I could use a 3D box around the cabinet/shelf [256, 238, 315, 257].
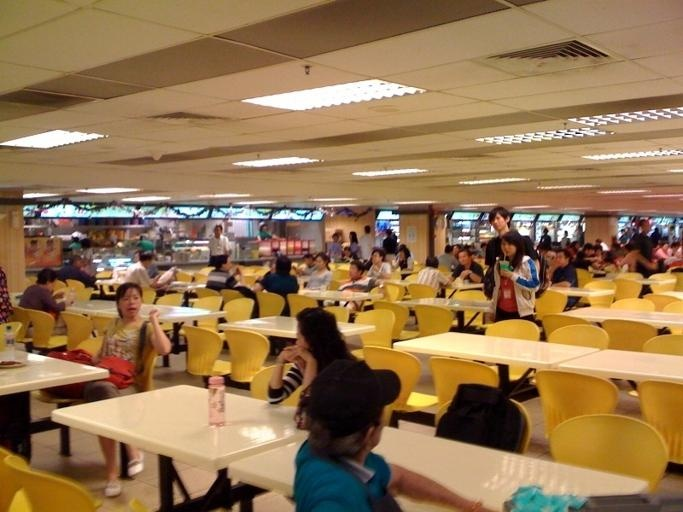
[{"bbox_3d":[-2.214,-0.310,18.738,0.438,0.651,2.693,-1,-1,37],"label":"cabinet/shelf"}]

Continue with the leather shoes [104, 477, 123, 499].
[{"bbox_3d":[-1.649,1.657,3.476,0.078,0.063,0.160,2,-6,-16],"label":"leather shoes"}]

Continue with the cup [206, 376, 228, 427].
[{"bbox_3d":[-0.633,0.727,2.458,0.079,0.247,0.119,0,-1,-13],"label":"cup"}]

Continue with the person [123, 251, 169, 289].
[{"bbox_3d":[-3.778,0.237,9.529,0.966,0.656,0.605,4,18,-41],"label":"person"}]

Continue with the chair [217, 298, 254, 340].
[{"bbox_3d":[-1.475,0.780,6.719,0.345,0.460,0.347,-1,-2,-12],"label":"chair"}]

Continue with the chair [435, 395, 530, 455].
[{"bbox_3d":[0.771,0.865,2.726,0.403,0.282,0.536,-11,4,19],"label":"chair"}]

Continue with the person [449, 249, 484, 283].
[{"bbox_3d":[2.613,0.214,10.227,0.809,0.851,0.685,0,-3,-44],"label":"person"}]

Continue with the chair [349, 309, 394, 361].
[{"bbox_3d":[0.442,0.882,5.764,0.479,0.648,0.463,-1,-5,21],"label":"chair"}]

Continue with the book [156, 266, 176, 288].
[{"bbox_3d":[-3.793,0.458,10.416,0.110,0.364,0.143,30,-15,19],"label":"book"}]

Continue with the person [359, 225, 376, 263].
[{"bbox_3d":[1.093,-0.202,19.662,0.721,1.984,0.634,0,3,29],"label":"person"}]

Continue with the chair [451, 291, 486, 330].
[{"bbox_3d":[2.159,0.846,7.997,0.556,0.764,0.572,1,-4,5],"label":"chair"}]

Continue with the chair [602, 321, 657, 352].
[{"bbox_3d":[2.986,0.792,5.058,0.362,0.471,0.359,6,10,40],"label":"chair"}]

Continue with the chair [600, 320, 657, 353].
[{"bbox_3d":[2.921,0.773,4.965,0.365,0.471,0.358,5,9,40],"label":"chair"}]

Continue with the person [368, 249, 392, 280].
[{"bbox_3d":[0.797,0.256,10.331,0.593,0.795,0.491,0,-8,26],"label":"person"}]

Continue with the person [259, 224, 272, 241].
[{"bbox_3d":[-3.163,-1.004,19.972,0.471,0.716,1.320,0,-1,-10],"label":"person"}]

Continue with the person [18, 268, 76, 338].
[{"bbox_3d":[-4.283,0.820,7.008,0.560,1.235,0.751,10,4,30],"label":"person"}]

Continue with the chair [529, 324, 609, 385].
[{"bbox_3d":[2.173,0.829,4.426,0.344,0.391,0.312,-2,-5,43],"label":"chair"}]

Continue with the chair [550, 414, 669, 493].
[{"bbox_3d":[1.289,0.831,2.379,0.427,0.423,0.496,3,-9,31],"label":"chair"}]

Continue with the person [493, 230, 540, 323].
[{"bbox_3d":[1.970,0.242,5.437,0.507,1.021,0.637,-1,-1,16],"label":"person"}]

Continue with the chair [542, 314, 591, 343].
[{"bbox_3d":[2.634,0.743,5.702,0.472,0.417,0.448,1,2,37],"label":"chair"}]

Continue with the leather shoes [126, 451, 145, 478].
[{"bbox_3d":[-1.621,1.644,3.822,0.082,0.051,0.171,-9,18,9],"label":"leather shoes"}]

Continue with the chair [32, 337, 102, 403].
[{"bbox_3d":[-2.237,0.970,4.107,0.611,0.632,0.471,5,-6,-25],"label":"chair"}]
